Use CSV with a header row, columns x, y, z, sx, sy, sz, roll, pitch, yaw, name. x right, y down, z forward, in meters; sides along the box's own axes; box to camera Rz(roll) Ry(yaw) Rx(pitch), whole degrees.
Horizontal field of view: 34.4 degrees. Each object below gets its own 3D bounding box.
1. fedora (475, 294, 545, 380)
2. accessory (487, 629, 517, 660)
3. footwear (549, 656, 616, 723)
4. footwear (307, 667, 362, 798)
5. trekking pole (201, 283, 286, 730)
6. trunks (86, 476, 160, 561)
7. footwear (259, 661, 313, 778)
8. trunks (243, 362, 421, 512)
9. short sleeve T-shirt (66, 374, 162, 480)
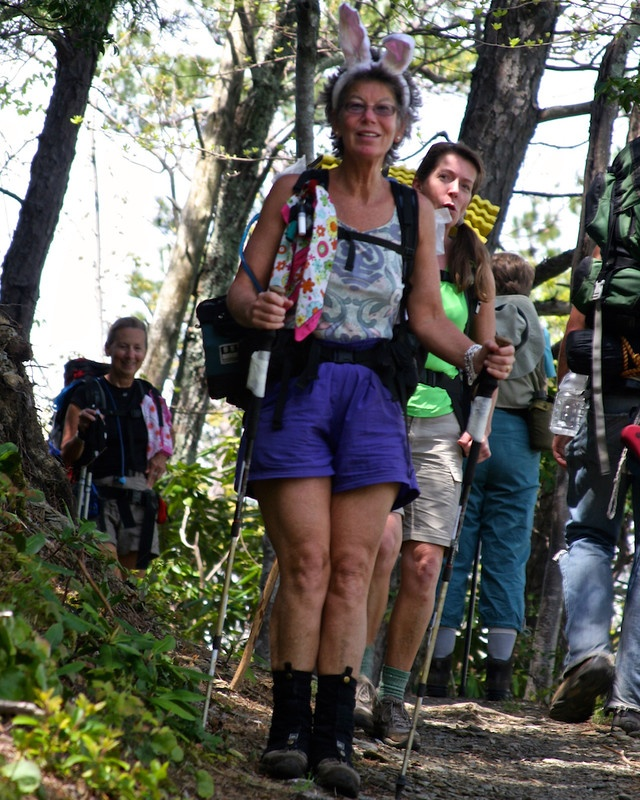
x,y,z,sx,sy,sz,roll,pitch,yaw,name
1.168,-0.405,6.006,0.302,0.404,0.416,-14,5,12,fedora
1.020,1.376,5.883,0.220,0.181,0.202,1,-3,4,accessory
1.146,1.264,4.527,0.228,0.357,0.452,9,-6,14,footwear
0.058,0.992,3.136,0.179,0.354,0.245,11,-7,-1,footwear
-0.274,0.392,3.251,0.133,1.285,0.511,13,-7,-4,trekking pole
-1.299,0.711,6.251,0.531,0.540,0.393,7,-16,-39,trunks
-0.086,0.963,3.135,0.167,0.315,0.246,11,-7,1,footwear
0.049,0.087,3.389,0.609,0.437,0.287,2,-23,9,trunks
-1.138,0.056,6.277,0.493,0.457,0.491,5,22,34,short sleeve T-shirt
